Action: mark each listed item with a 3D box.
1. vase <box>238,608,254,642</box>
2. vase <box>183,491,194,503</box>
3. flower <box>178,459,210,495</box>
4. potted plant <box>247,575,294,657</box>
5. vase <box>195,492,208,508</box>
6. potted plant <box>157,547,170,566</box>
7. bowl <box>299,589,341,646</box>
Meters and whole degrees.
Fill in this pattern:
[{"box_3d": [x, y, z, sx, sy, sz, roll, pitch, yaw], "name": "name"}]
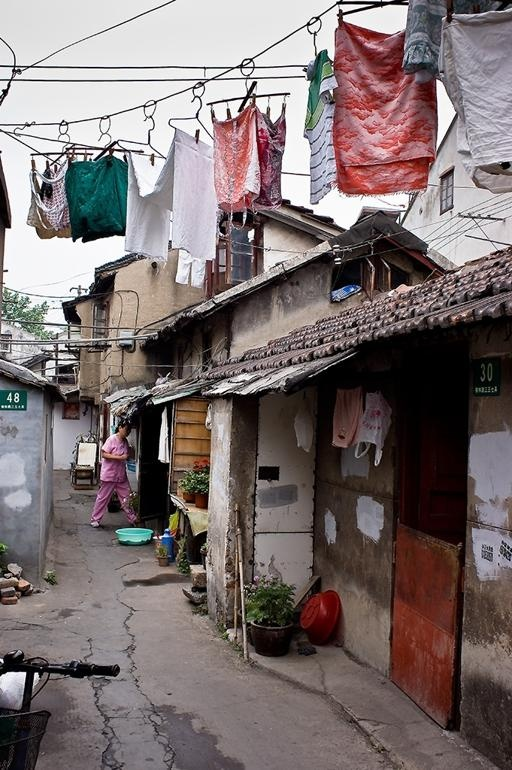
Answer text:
[{"box_3d": [-0.099, 2.363, 7.409, 0.284, 0.224, 0.292, 1, -7, 0], "name": "vase"}, {"box_3d": [-0.971, 1.616, 10.845, 0.178, 0.127, 0.183, 5, -8, -5], "name": "vase"}, {"box_3d": [-0.860, 1.263, 10.684, 0.424, 0.306, 0.431, -14, 5, -13], "name": "flower"}, {"box_3d": [0.133, 2.197, 7.237, 0.453, 0.679, 0.603, 1, -2, -1], "name": "potted plant"}, {"box_3d": [-0.774, 1.601, 10.467, 0.092, 0.209, 0.267, 3, -3, -42], "name": "vase"}, {"box_3d": [-1.444, 2.628, 11.628, 0.179, 0.313, 0.296, 1, -2, -6], "name": "potted plant"}, {"box_3d": [0.640, 2.311, 7.541, 0.319, 0.474, 0.545, 1, -2, -23], "name": "bowl"}]
